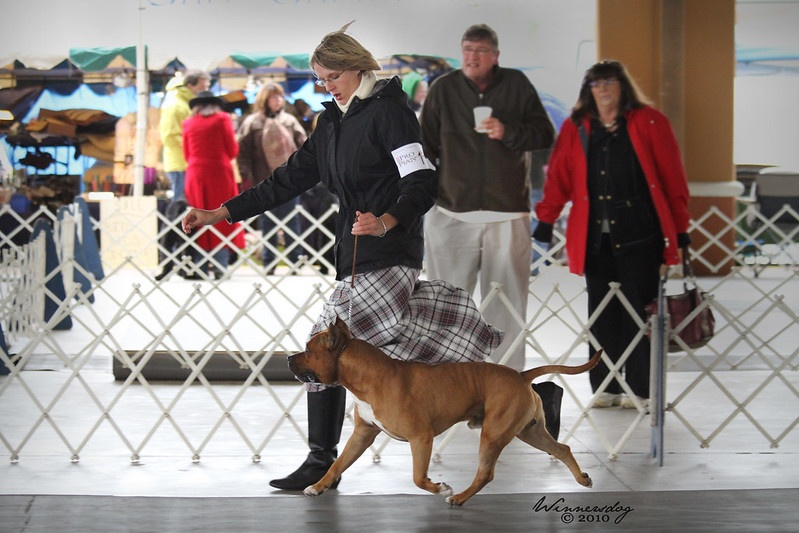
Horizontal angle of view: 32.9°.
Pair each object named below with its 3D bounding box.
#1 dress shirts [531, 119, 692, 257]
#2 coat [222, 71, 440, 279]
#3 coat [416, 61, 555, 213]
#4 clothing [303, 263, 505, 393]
[{"bbox_3d":[1.651,-0.726,10.428,1.314,1.159,0.375,9,21,30],"label":"dress shirts"},{"bbox_3d":[-0.376,-0.640,10.149,1.521,1.940,1.432,8,-10,-42],"label":"coat"},{"bbox_3d":[0.681,-0.986,10.610,1.250,1.120,0.679,2,12,17],"label":"coat"},{"bbox_3d":[0.112,0.410,9.460,1.132,0.382,0.828,-3,16,-4],"label":"clothing"}]
